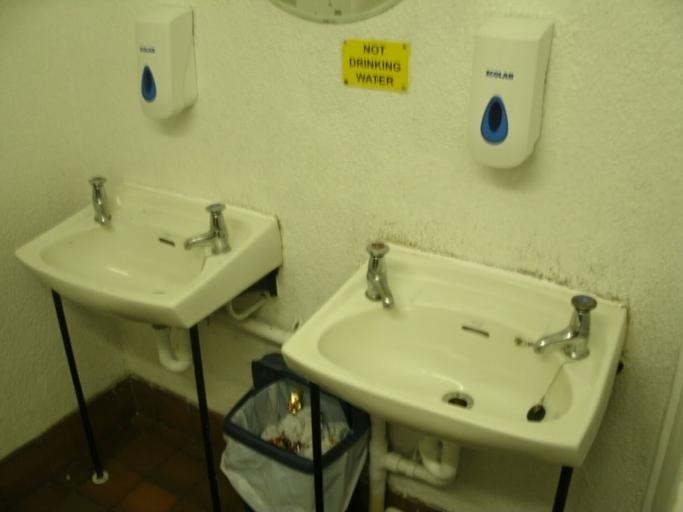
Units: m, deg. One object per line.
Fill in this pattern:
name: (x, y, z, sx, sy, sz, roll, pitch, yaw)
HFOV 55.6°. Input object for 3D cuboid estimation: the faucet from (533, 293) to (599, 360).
faucet: (0.550, 0.160, 1.589, 0.131, 0.177, 0.134, 8, 30, 15)

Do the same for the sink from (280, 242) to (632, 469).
sink: (0.285, 0.254, 1.638, 0.739, 0.277, 0.514, 15, 34, 25)

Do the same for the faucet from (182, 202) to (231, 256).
faucet: (-0.386, -0.077, 1.876, 0.102, 0.136, 0.133, 13, 32, 24)

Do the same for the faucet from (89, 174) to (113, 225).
faucet: (-0.804, -0.159, 2.206, 0.071, 0.125, 0.224, -13, -12, -21)

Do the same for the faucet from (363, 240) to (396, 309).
faucet: (0.106, 0.055, 1.738, 0.062, 0.159, 0.108, -17, 36, -23)

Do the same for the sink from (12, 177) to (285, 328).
sink: (-0.616, -0.038, 1.995, 0.756, 0.320, 0.469, 14, 33, 23)
